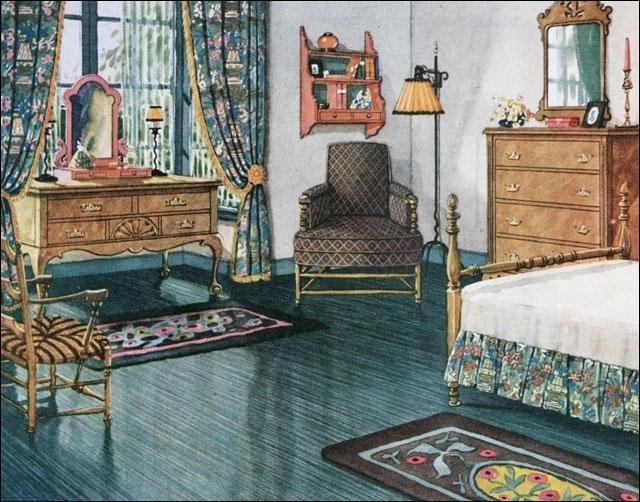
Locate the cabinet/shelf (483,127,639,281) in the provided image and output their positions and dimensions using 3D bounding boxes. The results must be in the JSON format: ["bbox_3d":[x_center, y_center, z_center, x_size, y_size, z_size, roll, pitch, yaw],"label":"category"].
[{"bbox_3d":[1.915,-0.390,4.726,0.615,1.317,1.230,-4,6,-42],"label":"cabinet/shelf"}]

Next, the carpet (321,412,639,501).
[{"bbox_3d":[0.719,0.993,2.889,1.396,0.034,0.826,-1,12,-7],"label":"carpet"}]

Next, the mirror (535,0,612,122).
[{"bbox_3d":[2.215,-1.676,5.354,0.097,1.043,0.728,-9,15,-40],"label":"mirror"}]

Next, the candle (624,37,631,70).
[{"bbox_3d":[2.458,-1.574,4.863,0.057,0.247,0.199,6,12,24],"label":"candle"}]

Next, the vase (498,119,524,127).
[{"bbox_3d":[1.694,-1.141,5.447,0.106,0.055,0.146,2,8,6],"label":"vase"}]

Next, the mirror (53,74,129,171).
[{"bbox_3d":[-2.032,-1.138,5.321,0.562,0.781,0.194,-4,12,-20],"label":"mirror"}]

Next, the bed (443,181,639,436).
[{"bbox_3d":[1.299,0.197,3.443,1.161,0.981,1.145,-5,6,-41],"label":"bed"}]

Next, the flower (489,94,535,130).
[{"bbox_3d":[1.763,-1.254,5.578,0.391,0.413,0.177,-4,10,24],"label":"flower"}]

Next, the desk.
[{"bbox_3d":[-1.874,-0.116,5.530,1.727,1.005,1.025,-7,10,-42],"label":"desk"}]

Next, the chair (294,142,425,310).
[{"bbox_3d":[0.371,-0.296,5.808,1.140,1.444,1.236,1,11,4],"label":"chair"}]
